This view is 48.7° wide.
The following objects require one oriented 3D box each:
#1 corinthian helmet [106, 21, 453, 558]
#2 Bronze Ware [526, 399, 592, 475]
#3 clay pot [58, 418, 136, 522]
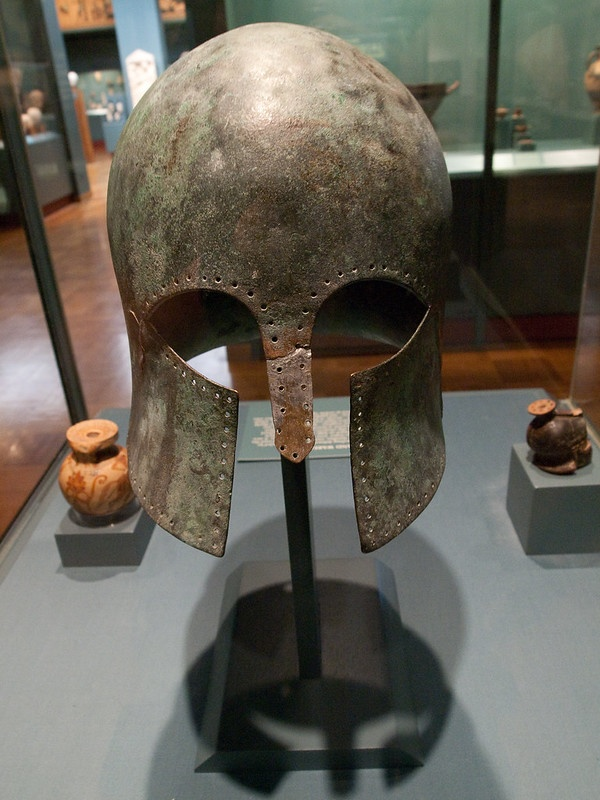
[{"bbox_3d":[-0.030,-0.234,1.185,0.562,0.756,0.597,1,32,4],"label":"corinthian helmet"},{"bbox_3d":[0.702,0.095,1.915,0.200,0.198,0.186,-6,24,-6],"label":"Bronze Ware"},{"bbox_3d":[-0.602,0.206,1.950,0.224,0.245,0.243,2,21,-1],"label":"clay pot"}]
